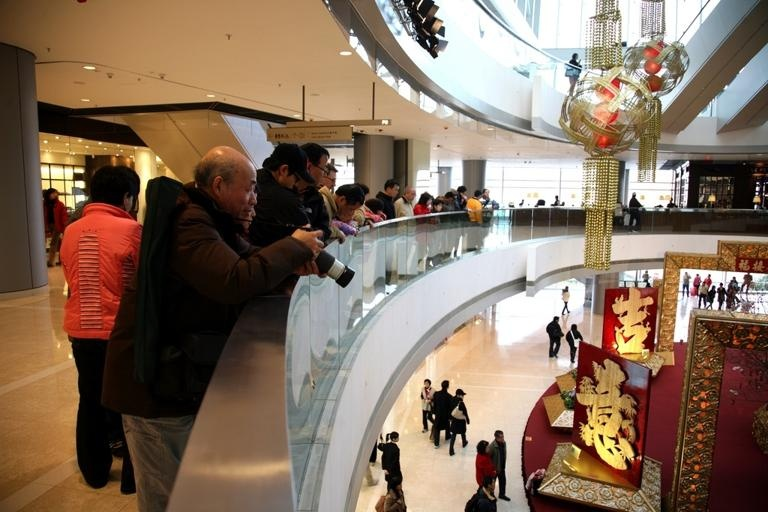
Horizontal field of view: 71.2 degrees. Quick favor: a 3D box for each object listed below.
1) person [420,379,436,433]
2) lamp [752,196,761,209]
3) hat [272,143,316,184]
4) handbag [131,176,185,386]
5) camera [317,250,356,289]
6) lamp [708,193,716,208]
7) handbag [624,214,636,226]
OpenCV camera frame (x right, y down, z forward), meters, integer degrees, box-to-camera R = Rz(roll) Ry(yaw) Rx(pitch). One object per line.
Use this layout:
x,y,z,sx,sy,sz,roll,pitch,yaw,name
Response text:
1.110,3.950,14.062,0.468,1.459,0.477,2,9,17,person
16.984,-2.510,24.417,0.314,0.578,0.281,-2,6,34,lamp
-0.788,-0.801,4.482,0.363,0.224,0.253,28,19,-11,hat
-1.561,0.157,3.686,0.458,1.061,0.156,-8,5,-22,handbag
-0.380,0.095,4.009,0.415,0.154,0.142,39,4,-30,camera
15.364,-2.647,25.180,0.324,0.589,0.331,-2,6,37,lamp
8.742,-1.300,19.262,0.350,0.429,0.415,-2,1,-18,handbag
